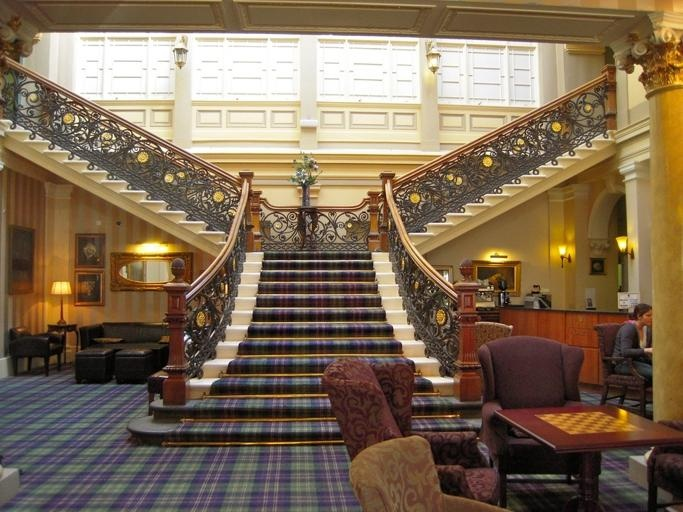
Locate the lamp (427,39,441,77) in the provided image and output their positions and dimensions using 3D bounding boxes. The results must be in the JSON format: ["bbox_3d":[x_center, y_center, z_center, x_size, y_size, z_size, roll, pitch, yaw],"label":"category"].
[{"bbox_3d":[2.109,-4.592,12.687,0.251,0.749,0.264,-9,16,-26],"label":"lamp"}]

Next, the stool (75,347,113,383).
[{"bbox_3d":[-4.359,1.860,9.767,0.509,0.579,0.876,0,0,-4],"label":"stool"}]

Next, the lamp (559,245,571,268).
[{"bbox_3d":[4.905,-0.008,12.050,0.266,0.472,0.147,4,15,21],"label":"lamp"}]

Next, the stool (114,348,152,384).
[{"bbox_3d":[-3.628,1.876,9.712,0.632,0.563,0.655,-1,2,-4],"label":"stool"}]

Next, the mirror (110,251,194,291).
[{"bbox_3d":[-4.148,0.311,11.844,1.688,0.830,0.423,0,14,4],"label":"mirror"}]

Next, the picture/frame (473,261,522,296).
[{"bbox_3d":[3.259,0.465,11.618,0.774,0.537,0.057,2,-9,-9],"label":"picture/frame"}]

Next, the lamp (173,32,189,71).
[{"bbox_3d":[-3.612,-4.609,12.352,0.320,0.715,0.522,-5,15,-13],"label":"lamp"}]

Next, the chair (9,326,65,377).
[{"bbox_3d":[-5.728,1.699,10.371,0.815,0.859,1.008,0,-2,-5],"label":"chair"}]

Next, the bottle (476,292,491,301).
[{"bbox_3d":[3.068,0.852,11.802,0.323,0.175,0.105,-4,14,-12],"label":"bottle"}]

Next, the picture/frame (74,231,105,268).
[{"bbox_3d":[-5.450,-0.136,11.816,0.812,0.944,0.064,0,0,2],"label":"picture/frame"}]

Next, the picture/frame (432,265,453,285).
[{"bbox_3d":[1.786,0.316,9.761,0.408,0.457,0.034,0,2,-3],"label":"picture/frame"}]
